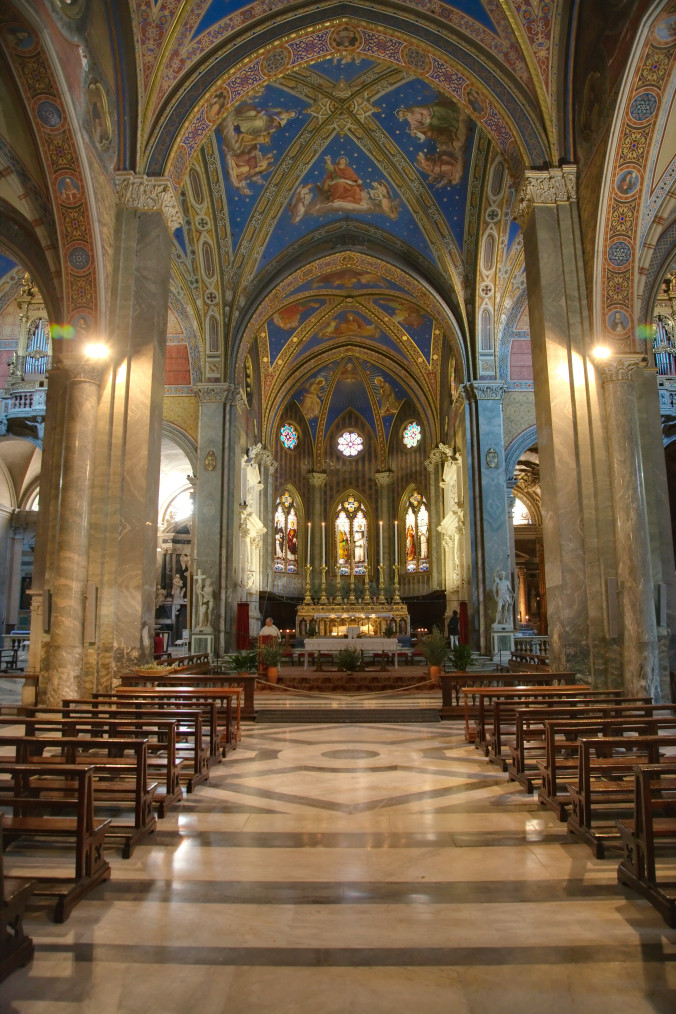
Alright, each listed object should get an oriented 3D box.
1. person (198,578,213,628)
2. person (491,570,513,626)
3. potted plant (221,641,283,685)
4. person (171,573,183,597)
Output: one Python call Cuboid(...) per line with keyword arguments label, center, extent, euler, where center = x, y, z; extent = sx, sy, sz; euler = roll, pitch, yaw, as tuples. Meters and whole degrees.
Cuboid(label="person", center=(-3.653, 2.632, 19.373), extent=(0.402, 1.584, 0.554), euler=(2, -10, -17))
Cuboid(label="person", center=(4.397, 2.444, 18.607), extent=(0.494, 1.530, 0.619), euler=(-3, -10, 13))
Cuboid(label="potted plant", center=(-1.634, 3.126, 14.106), extent=(1.114, 1.098, 1.223), euler=(3, -11, -18))
Cuboid(label="person", center=(-6.705, 3.244, 29.267), extent=(0.393, 0.977, 0.720), euler=(0, -10, -4))
